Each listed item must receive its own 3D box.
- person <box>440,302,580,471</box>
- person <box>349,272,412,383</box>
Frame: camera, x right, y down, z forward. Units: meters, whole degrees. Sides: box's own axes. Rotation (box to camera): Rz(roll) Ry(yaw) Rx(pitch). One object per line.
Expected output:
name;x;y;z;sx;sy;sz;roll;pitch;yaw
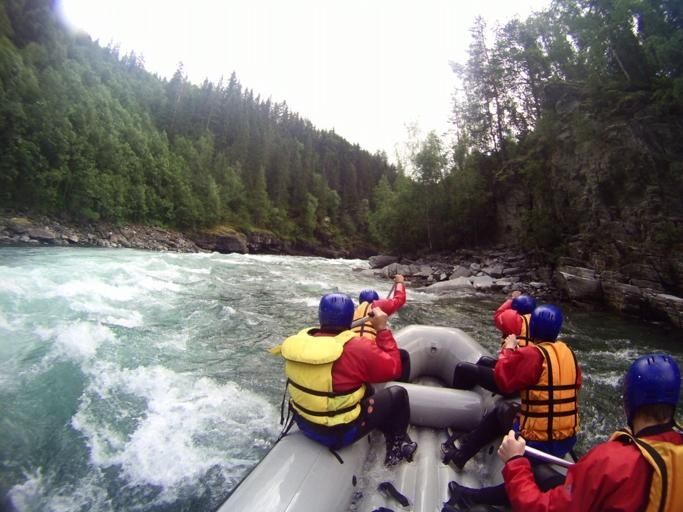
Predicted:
person;2.103;1.707;5.592;1.521;2.191;0.925;10;-4;42
person;0.424;0.997;6.692;0.955;1.662;0.691;9;6;32
